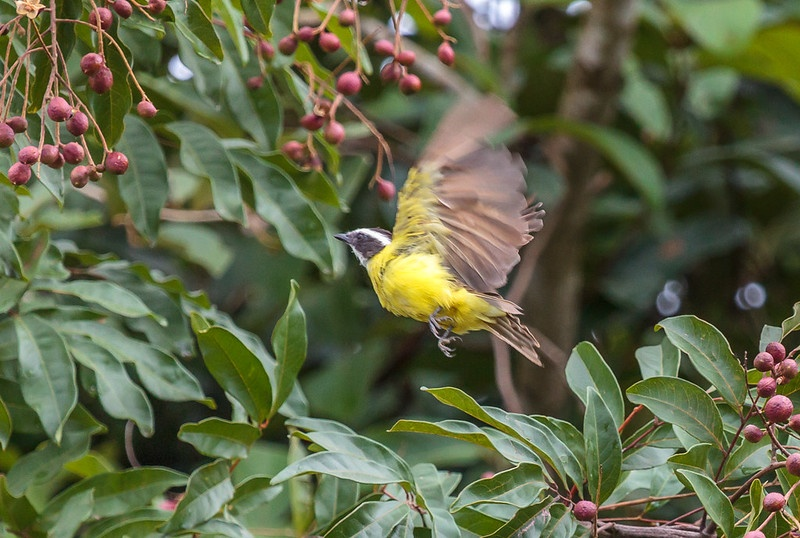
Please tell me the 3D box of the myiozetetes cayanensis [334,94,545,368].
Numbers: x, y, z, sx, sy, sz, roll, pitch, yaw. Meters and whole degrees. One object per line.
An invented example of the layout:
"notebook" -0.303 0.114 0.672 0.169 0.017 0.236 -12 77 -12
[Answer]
"myiozetetes cayanensis" 0.197 -0.094 3.463 0.702 0.746 0.955 7 -10 2
